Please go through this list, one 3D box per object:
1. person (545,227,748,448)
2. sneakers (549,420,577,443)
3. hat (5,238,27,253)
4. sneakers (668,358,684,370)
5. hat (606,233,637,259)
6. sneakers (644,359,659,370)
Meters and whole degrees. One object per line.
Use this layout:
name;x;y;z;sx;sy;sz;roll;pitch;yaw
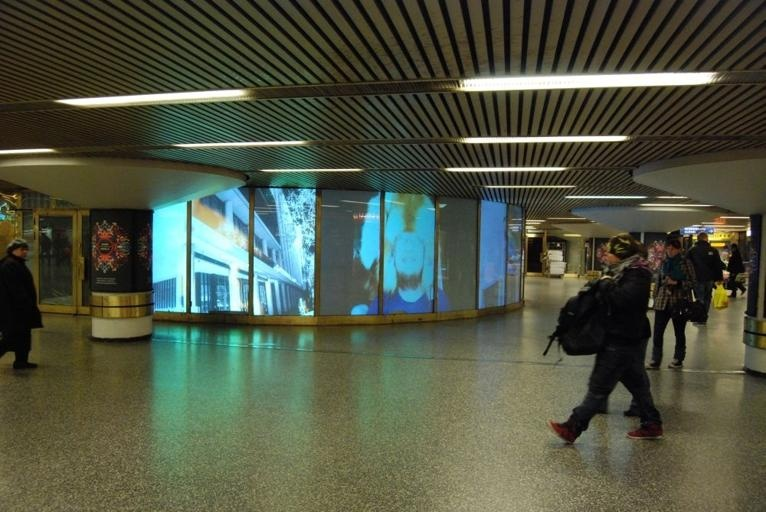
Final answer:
person;2.732;1.016;6.458;1.331;2.516;0.500;-1;6;-11
sneakers;2.181;2.122;6.407;0.367;0.161;0.121;35;18;-5
hat;-6.528;-0.183;9.390;0.358;0.148;0.232;-5;1;-3
sneakers;5.245;1.927;9.511;0.131;0.132;0.353;-4;-9;36
hat;2.952;-0.120;6.533;0.291;0.272;0.351;-4;-11;6
sneakers;4.746;1.914;9.331;0.233;0.200;0.141;2;-10;39
